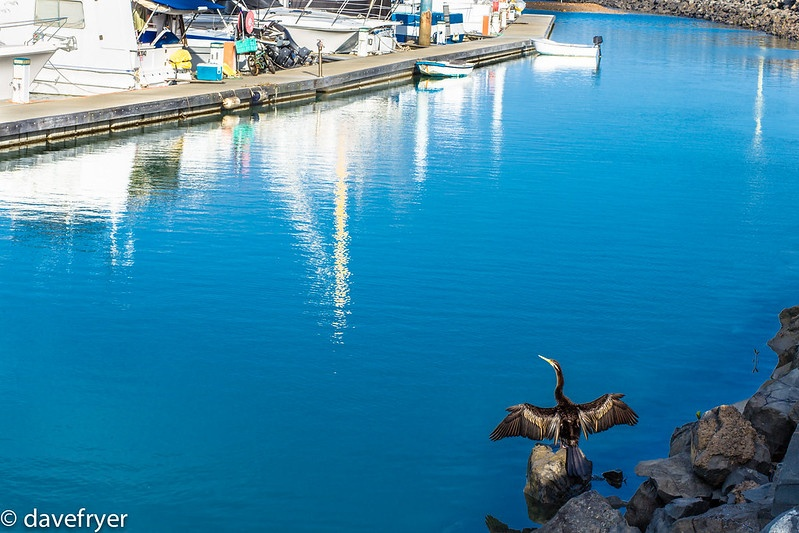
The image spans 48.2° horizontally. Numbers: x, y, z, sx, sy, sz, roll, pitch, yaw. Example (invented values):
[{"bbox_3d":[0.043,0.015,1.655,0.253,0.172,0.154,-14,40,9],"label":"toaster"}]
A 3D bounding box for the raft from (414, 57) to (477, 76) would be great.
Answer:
[{"bbox_3d":[2.252,-10.088,45.703,2.448,0.569,1.229,-13,35,-36],"label":"raft"}]

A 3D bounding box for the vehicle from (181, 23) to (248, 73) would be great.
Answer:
[{"bbox_3d":[-7.647,-8.832,36.607,2.064,0.887,2.859,4,17,3],"label":"vehicle"}]
